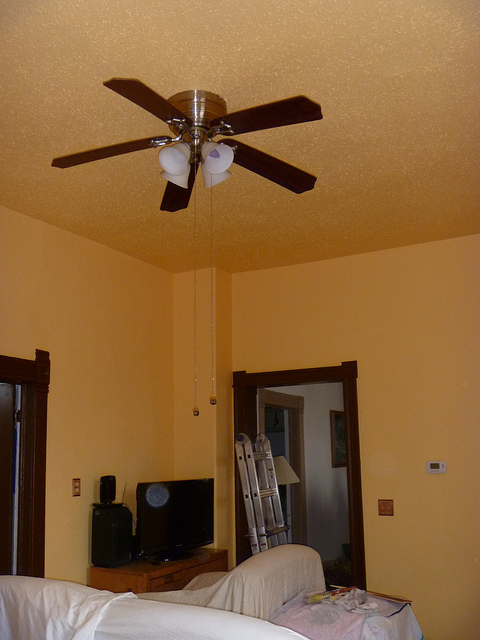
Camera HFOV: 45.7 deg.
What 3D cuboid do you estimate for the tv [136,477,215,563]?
[{"bbox_3d":[-0.475,1.454,4.169,0.167,0.543,0.728,-9,-14,41],"label":"tv"}]

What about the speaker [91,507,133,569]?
[{"bbox_3d":[-0.863,1.458,3.850,0.251,0.389,0.263,-1,-6,14],"label":"speaker"}]

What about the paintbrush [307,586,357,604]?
[{"bbox_3d":[0.442,1.305,2.730,0.315,0.033,0.088,7,11,-41],"label":"paintbrush"}]

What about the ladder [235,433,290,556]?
[{"bbox_3d":[0.161,1.299,3.996,0.188,0.991,0.302,-25,-26,34],"label":"ladder"}]

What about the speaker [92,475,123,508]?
[{"bbox_3d":[-0.908,1.176,3.921,0.185,0.225,0.190,-4,-12,27],"label":"speaker"}]

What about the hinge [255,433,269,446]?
[{"bbox_3d":[0.170,0.894,4.289,0.073,0.108,0.024,-1,-2,21],"label":"hinge"}]
